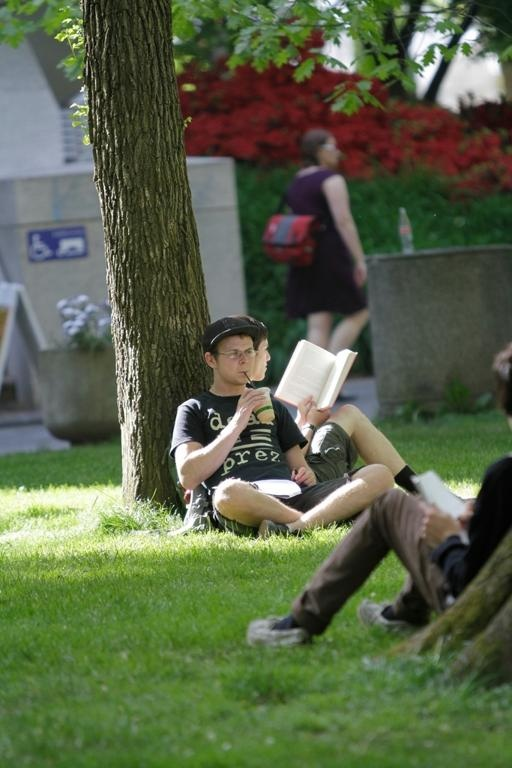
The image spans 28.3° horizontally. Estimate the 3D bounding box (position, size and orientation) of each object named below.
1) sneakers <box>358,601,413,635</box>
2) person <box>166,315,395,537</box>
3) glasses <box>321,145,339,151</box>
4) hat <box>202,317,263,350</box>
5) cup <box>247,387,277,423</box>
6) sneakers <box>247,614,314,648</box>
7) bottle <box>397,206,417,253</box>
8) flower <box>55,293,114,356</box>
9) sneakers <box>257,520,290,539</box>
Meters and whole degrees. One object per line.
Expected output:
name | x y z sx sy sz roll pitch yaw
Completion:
sneakers | 0.407 0.745 3.263 0.065 0.063 0.173 -5 16 -43
person | 0.056 0.197 4.613 1.031 0.847 0.846 7 9 40
glasses | 0.478 -1.521 6.544 0.062 0.053 0.248 -4 8 16
hat | -0.125 -0.259 4.838 0.189 0.108 0.233 3 -30 -42
cup | 0.024 0.102 4.632 0.120 0.137 0.125 -15 -35 -11
sneakers | 0.063 0.773 3.162 0.167 0.050 0.115 -2 -3 32
bottle | 0.902 -0.926 6.127 0.085 0.276 0.269 -6 9 9
flower | -1.592 -0.566 9.573 0.449 0.496 0.617 -8 9 -8
sneakers | 0.080 0.635 4.419 0.176 0.097 0.052 -2 5 -17
